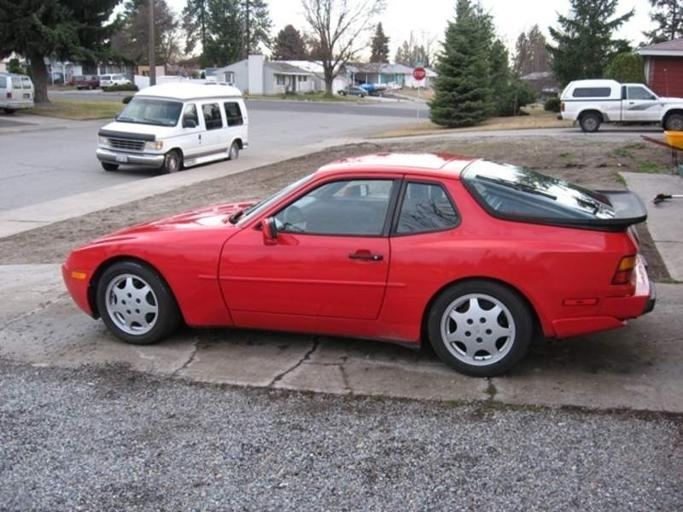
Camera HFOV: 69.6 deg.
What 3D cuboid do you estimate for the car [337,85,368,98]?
[{"bbox_3d":[1.935,-26.303,78.271,3.123,1.776,6.924,-8,19,-20],"label":"car"}]

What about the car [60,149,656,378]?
[{"bbox_3d":[0.052,-0.051,4.891,4.922,1.345,2.234,5,12,10],"label":"car"}]

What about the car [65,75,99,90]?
[{"bbox_3d":[-40.187,-27.346,76.955,2.891,2.250,6.493,-17,24,-41],"label":"car"}]
